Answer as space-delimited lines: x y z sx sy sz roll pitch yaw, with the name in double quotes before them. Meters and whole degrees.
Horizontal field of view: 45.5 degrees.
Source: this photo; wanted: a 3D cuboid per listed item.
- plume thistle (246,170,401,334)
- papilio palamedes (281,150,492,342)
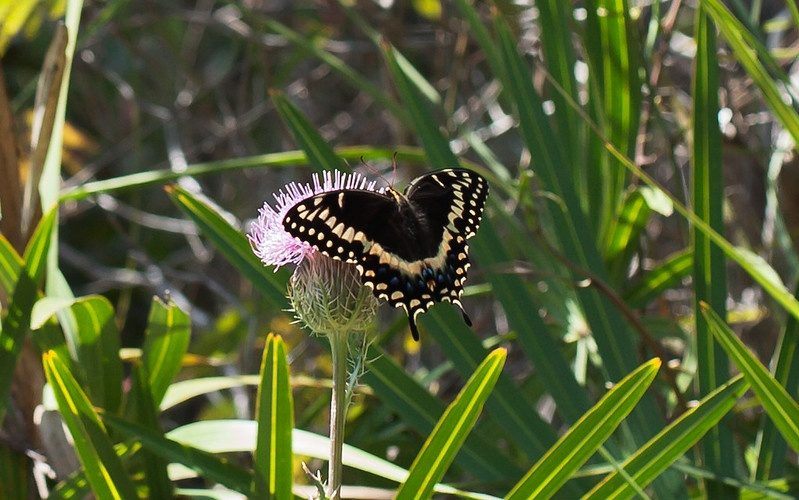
"plume thistle" -0.190 0.001 2.115 0.286 0.270 0.371 -6 45 -2
"papilio palamedes" 0.030 -0.002 2.146 0.494 0.408 0.137 -6 18 25
